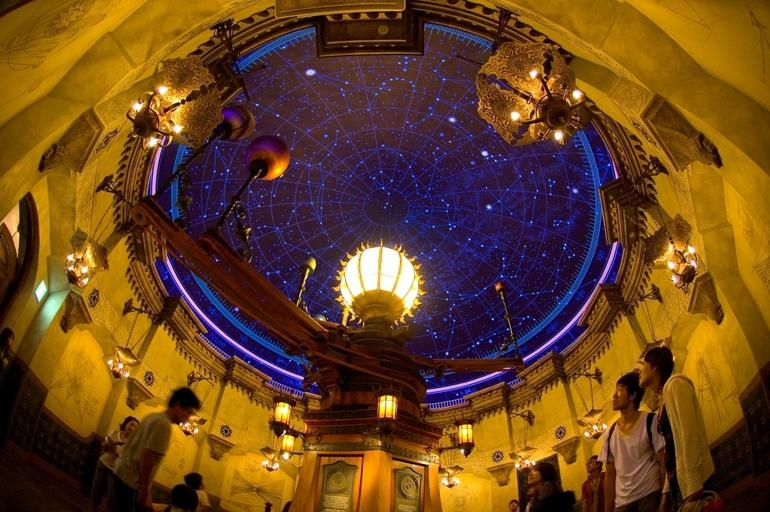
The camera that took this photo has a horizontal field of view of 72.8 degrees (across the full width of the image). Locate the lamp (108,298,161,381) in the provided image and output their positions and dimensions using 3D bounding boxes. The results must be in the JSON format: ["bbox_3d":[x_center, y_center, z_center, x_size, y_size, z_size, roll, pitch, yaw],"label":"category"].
[{"bbox_3d":[-8.321,2.706,17.092,1.378,2.336,1.113,11,-23,-23],"label":"lamp"}]

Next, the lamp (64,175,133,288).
[{"bbox_3d":[-7.988,-0.611,14.698,1.212,2.992,1.165,37,-16,-36],"label":"lamp"}]

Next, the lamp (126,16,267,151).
[{"bbox_3d":[-4.712,-4.284,12.873,1.632,3.453,1.725,-19,-68,18],"label":"lamp"}]

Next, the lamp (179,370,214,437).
[{"bbox_3d":[-6.994,5.541,19.547,1.432,2.527,0.786,4,-6,24],"label":"lamp"}]
